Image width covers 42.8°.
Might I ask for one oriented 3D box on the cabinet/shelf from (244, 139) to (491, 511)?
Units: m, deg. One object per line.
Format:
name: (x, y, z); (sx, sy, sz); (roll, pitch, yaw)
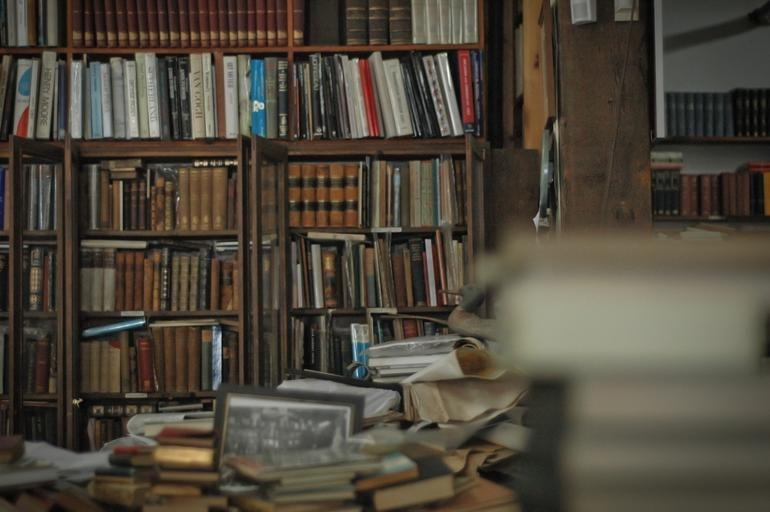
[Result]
cabinet/shelf: (-0.267, 0.046, 6.263); (1.442, 1.931, 1.340); (-1, 0, -10)

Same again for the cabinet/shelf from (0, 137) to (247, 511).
cabinet/shelf: (-1.366, 0.327, 5.038); (1.791, 1.577, 0.575); (2, -5, -6)
